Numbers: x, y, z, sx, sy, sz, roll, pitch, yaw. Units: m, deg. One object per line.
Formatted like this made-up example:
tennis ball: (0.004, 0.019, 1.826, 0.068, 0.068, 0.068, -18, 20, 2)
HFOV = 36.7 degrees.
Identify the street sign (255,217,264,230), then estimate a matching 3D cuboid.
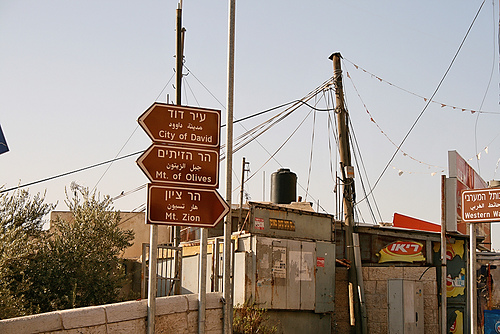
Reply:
street sign: (0.344, 2.243, 29.758, 0.405, 0.432, 0.040, 9, -17, -38)
